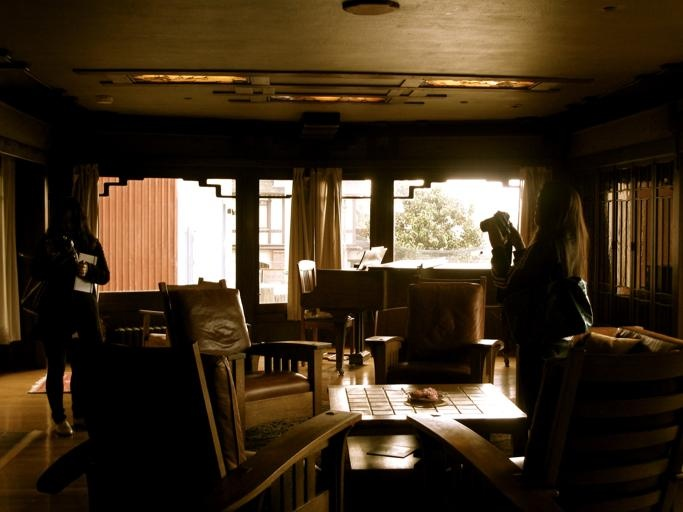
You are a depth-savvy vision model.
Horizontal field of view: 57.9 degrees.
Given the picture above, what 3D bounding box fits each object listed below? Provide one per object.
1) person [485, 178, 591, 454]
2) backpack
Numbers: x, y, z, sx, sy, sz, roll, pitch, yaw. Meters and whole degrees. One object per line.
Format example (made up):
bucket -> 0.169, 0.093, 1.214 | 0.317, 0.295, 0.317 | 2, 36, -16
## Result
person -> 1.112, 0.257, 3.528 | 0.571, 1.349, 0.393 | -1, 3, 16
backpack -> 1.263, 0.364, 3.525 | 0.327, 0.448, 0.158 | 1, -5, 10
